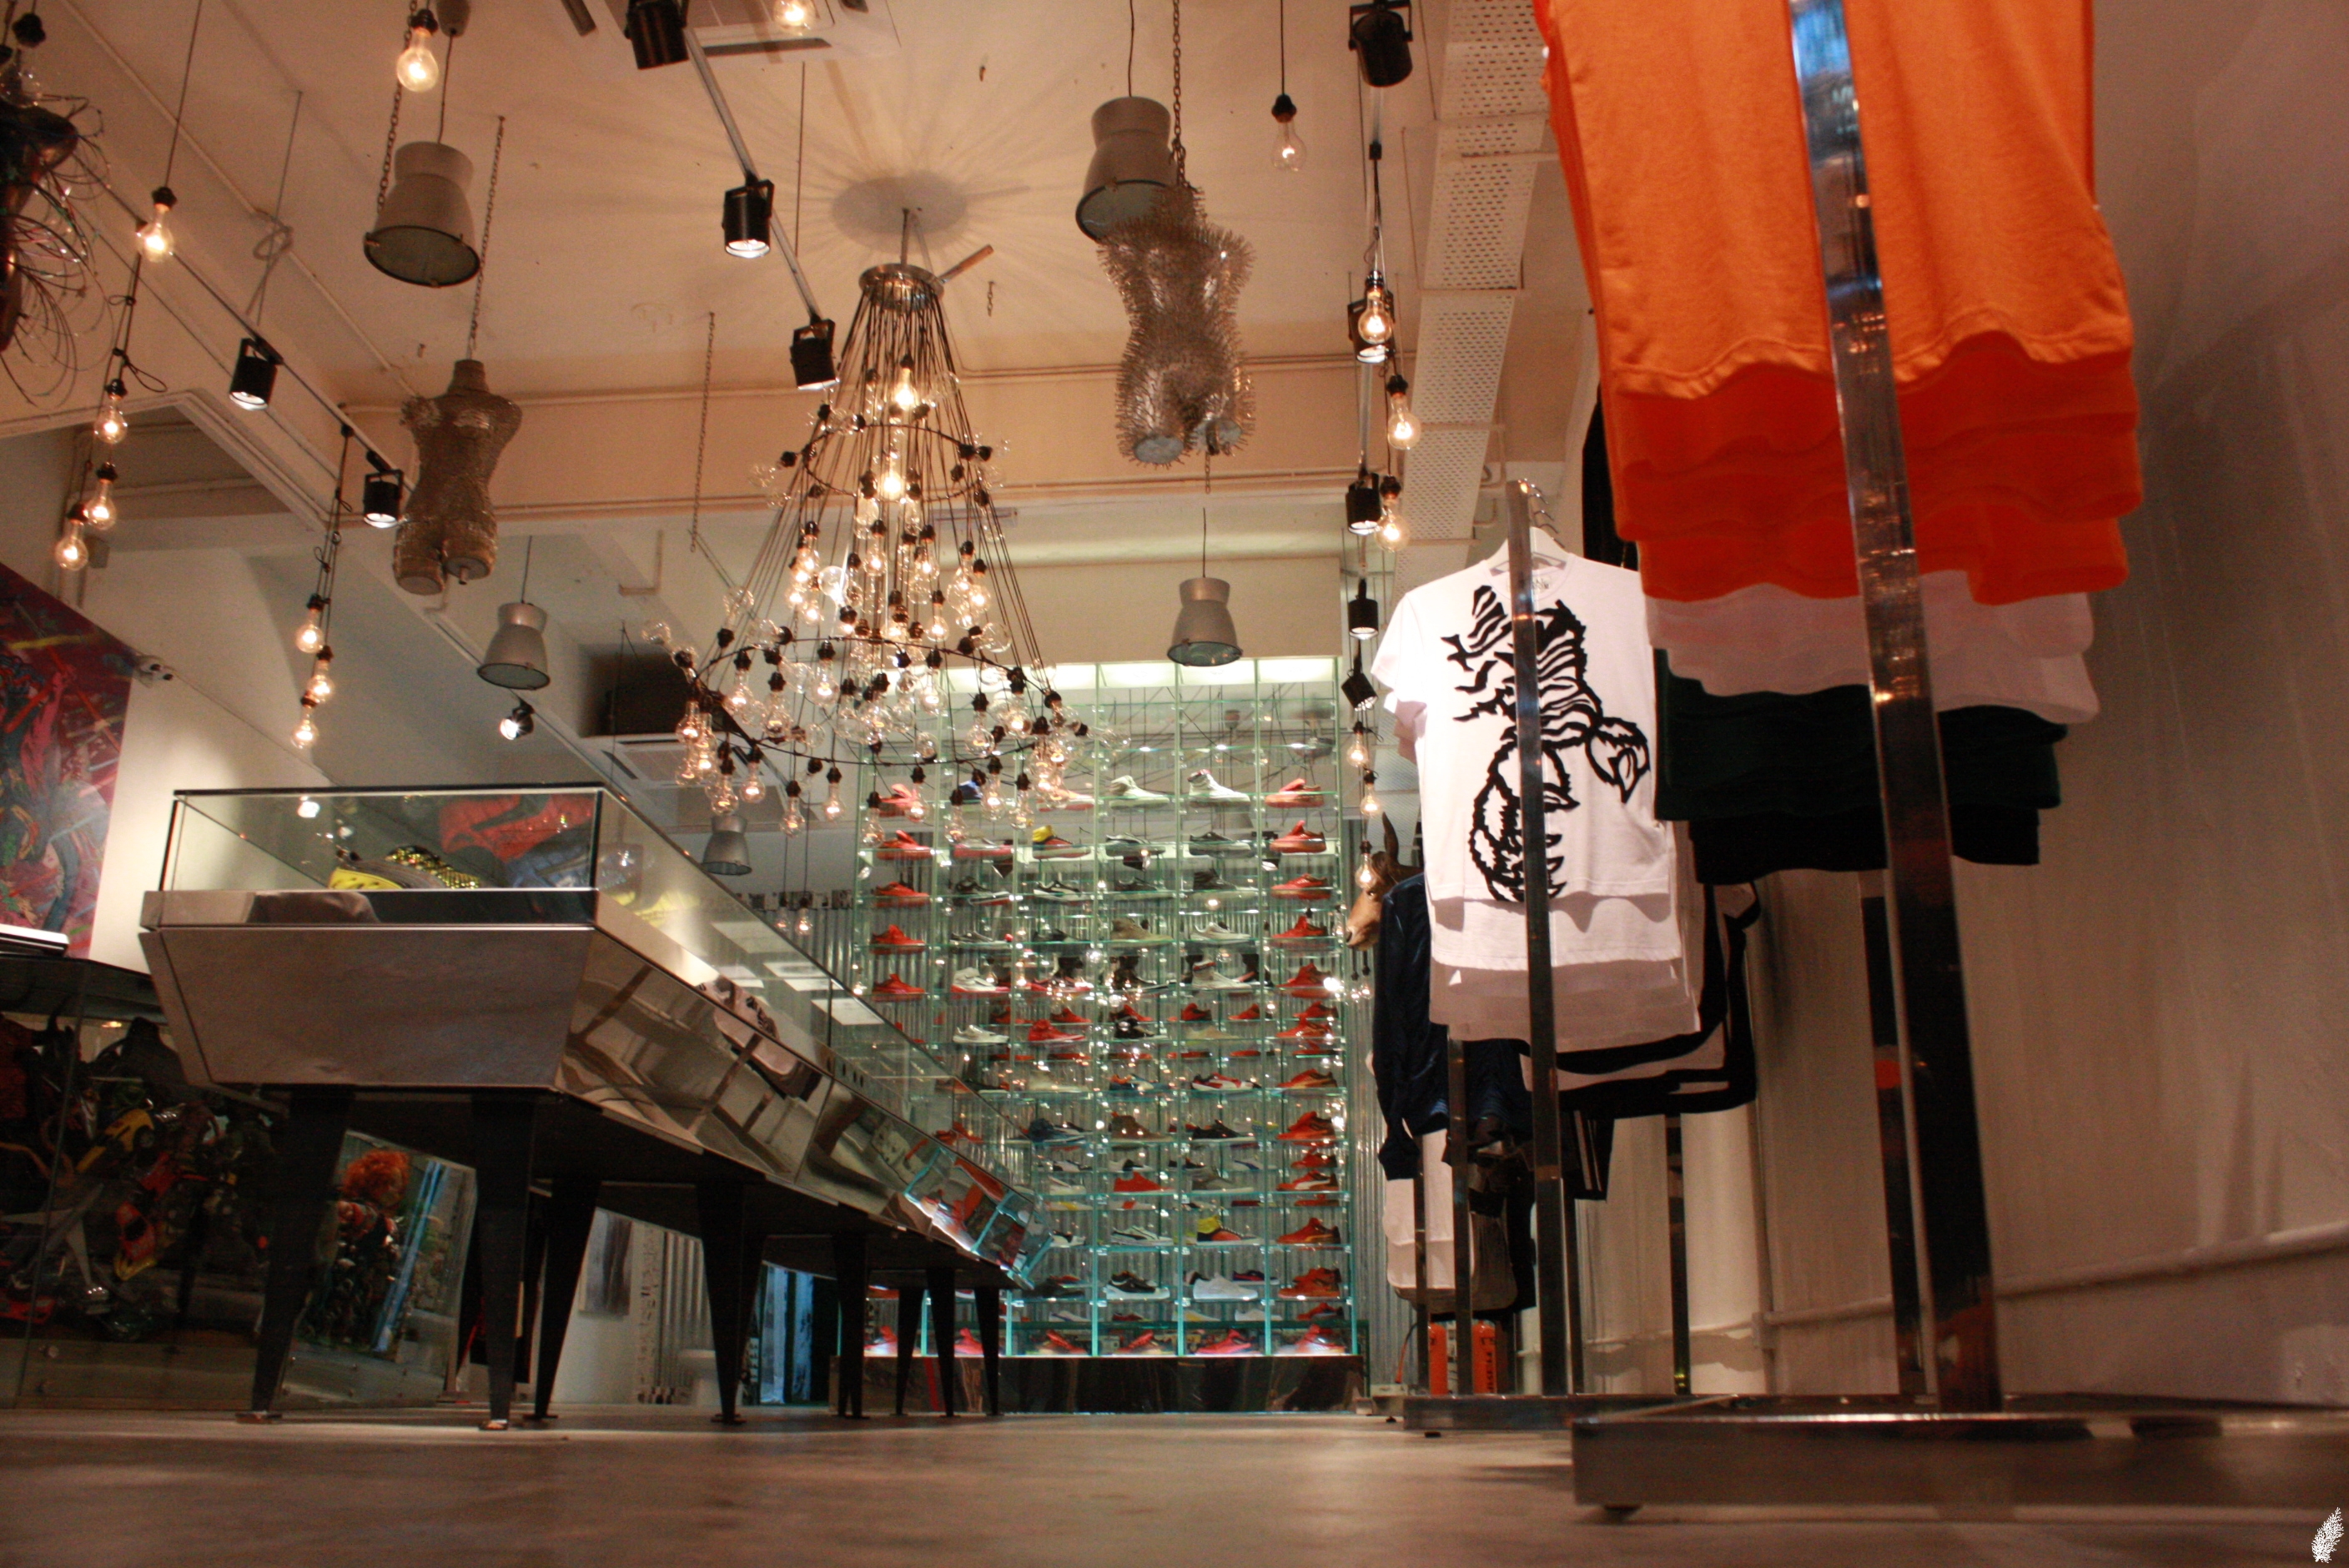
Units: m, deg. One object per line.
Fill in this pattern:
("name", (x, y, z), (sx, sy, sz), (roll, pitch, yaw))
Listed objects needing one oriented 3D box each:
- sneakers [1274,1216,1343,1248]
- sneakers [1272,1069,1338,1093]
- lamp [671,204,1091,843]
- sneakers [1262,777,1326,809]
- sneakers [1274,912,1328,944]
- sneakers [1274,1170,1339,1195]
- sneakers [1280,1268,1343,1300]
("sneakers", (0.871, 2.927, 12.119), (0.455, 0.178, 0.148), (0, -25, 6))
("sneakers", (0.857, 1.957, 12.245), (0.261, 0.102, 0.161), (-3, -12, 24))
("lamp", (-1.469, -1.398, 9.216), (1.501, 2.507, 1.563), (-5, -44, 6))
("sneakers", (0.808, 0.054, 12.770), (0.229, 0.134, 0.226), (5, -6, -26))
("sneakers", (0.857, 0.957, 12.568), (0.325, 0.267, 0.232), (-4, -21, 13))
("sneakers", (0.883, 2.634, 12.231), (0.443, 0.150, 0.172), (0, -37, 15))
("sneakers", (0.848, 3.204, 11.891), (0.419, 0.178, 0.151), (-6, -23, 28))
